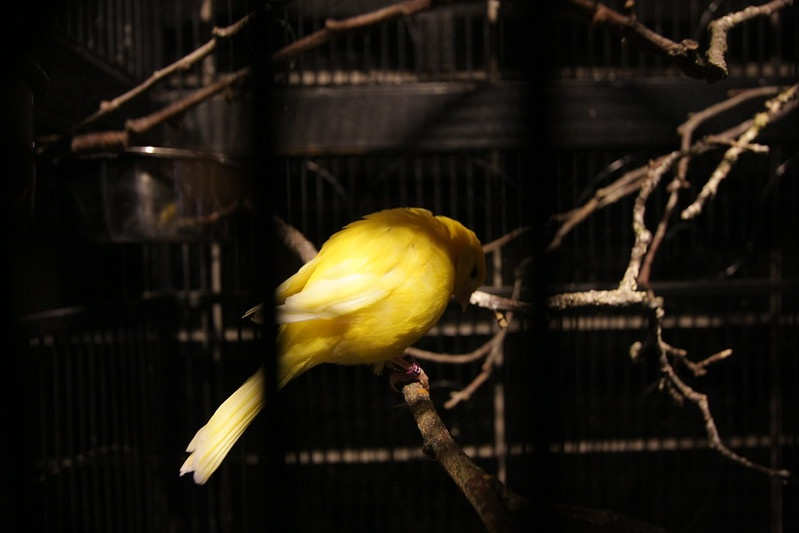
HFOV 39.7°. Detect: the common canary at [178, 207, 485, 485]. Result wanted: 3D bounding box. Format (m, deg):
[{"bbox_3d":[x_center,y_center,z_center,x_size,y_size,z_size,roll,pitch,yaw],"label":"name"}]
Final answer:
[{"bbox_3d":[-0.162,0.160,3.123,0.991,0.360,0.656,-9,-78,-35],"label":"common canary"}]
